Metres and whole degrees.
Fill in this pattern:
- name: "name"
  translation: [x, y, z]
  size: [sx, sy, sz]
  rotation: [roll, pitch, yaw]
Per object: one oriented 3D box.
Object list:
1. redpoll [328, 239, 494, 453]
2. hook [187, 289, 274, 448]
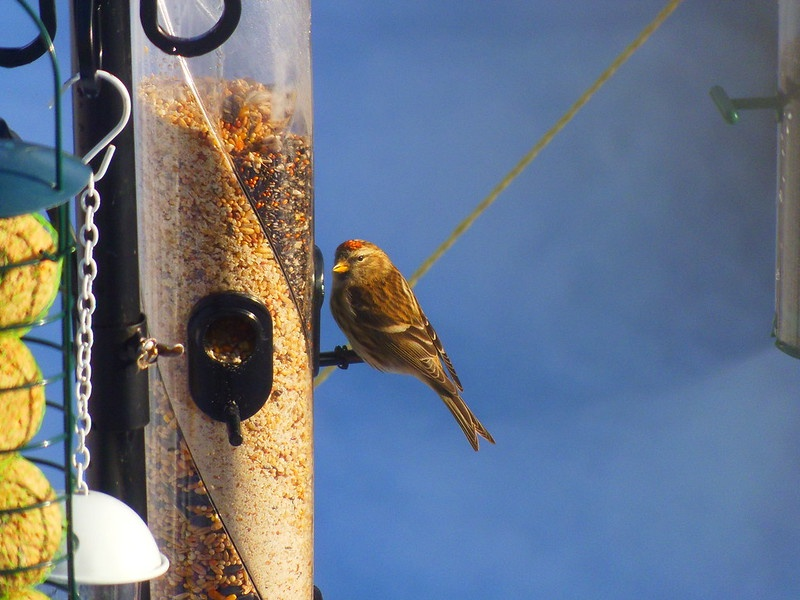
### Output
- name: "redpoll"
  translation: [0.004, 0.048, 3.864]
  size: [0.330, 0.337, 0.455]
  rotation: [-7, -73, -28]
- name: "hook"
  translation: [-0.299, 0.108, 3.223]
  size: [0.116, 0.304, 0.139]
  rotation: [-5, -7, 9]
